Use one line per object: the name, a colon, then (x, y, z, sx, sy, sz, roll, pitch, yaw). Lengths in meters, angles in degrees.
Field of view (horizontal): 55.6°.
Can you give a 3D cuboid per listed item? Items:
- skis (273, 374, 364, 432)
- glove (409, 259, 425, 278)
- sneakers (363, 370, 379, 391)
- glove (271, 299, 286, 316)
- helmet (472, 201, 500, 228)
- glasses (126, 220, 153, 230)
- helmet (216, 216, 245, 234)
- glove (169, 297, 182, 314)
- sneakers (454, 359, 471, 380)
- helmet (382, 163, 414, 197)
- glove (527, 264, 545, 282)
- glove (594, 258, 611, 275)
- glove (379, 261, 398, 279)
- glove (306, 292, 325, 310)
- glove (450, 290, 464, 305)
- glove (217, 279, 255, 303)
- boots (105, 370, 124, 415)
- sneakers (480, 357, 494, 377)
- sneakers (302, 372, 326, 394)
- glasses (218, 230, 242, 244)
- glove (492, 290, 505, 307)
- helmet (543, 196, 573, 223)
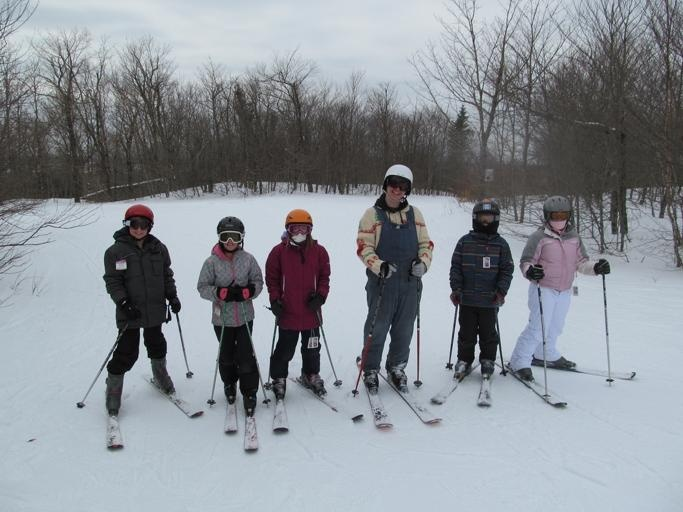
skis: (-0.394, 2.290, 9.936, 0.164, 0.172, 1.187, -12, 34, -35)
glove: (1.166, 0.199, 9.960, 0.168, 0.294, 0.097, 0, -4, 3)
sneakers: (0.458, 1.968, 10.147, 0.176, 0.302, 0.275, -1, 40, 0)
glove: (-0.982, 0.811, 9.909, 0.149, 0.243, 0.236, 1, -26, -10)
helmet: (2.364, -0.676, 10.688, 0.299, 0.457, 0.466, 0, 5, 5)
glasses: (-3.103, -0.465, 9.881, 0.367, 0.172, 0.163, -3, 11, -11)
helmet: (-1.866, -0.494, 10.689, 0.421, 0.282, 0.670, 0, -5, -8)
glove: (-2.579, 0.731, 10.076, 0.169, 0.274, 0.091, -14, 7, 37)
sneakers: (1.936, 1.845, 10.505, 0.133, 0.195, 0.483, -21, 7, 38)
helmet: (0.901, -1.276, 10.314, 0.363, 0.513, 0.543, 11, -26, -3)
glove: (3.071, 0.279, 10.248, 0.198, 0.128, 0.272, 7, 6, -36)
glove: (4.135, 0.198, 10.290, 0.169, 0.304, 0.123, 1, -9, 24)
glove: (0.678, 0.220, 9.820, 0.206, 0.267, 0.107, -1, 11, 8)
glove: (-0.399, 0.701, 9.935, 0.179, 0.251, 0.264, -3, 2, 8)
glove: (1.866, 0.708, 10.506, 0.142, 0.187, 0.206, -2, -38, 4)
glove: (-1.607, 0.532, 9.822, 0.360, 0.213, 0.290, 2, 2, 26)
boots: (-3.562, 2.067, 10.036, 0.251, 0.636, 0.794, 6, 2, -26)
sneakers: (2.342, 1.786, 10.389, 0.218, 0.228, 0.248, 42, -7, 36)
sneakers: (-0.441, 2.008, 10.275, 0.170, 0.262, 0.501, 0, 8, -31)
glasses: (-1.712, -0.275, 9.926, 0.348, 0.214, 0.164, -4, 11, -14)
glove: (2.509, 0.692, 10.348, 0.166, 0.276, 0.161, 2, 10, 13)
helmet: (3.507, -0.761, 10.581, 0.311, 0.474, 0.455, -1, 15, 5)
